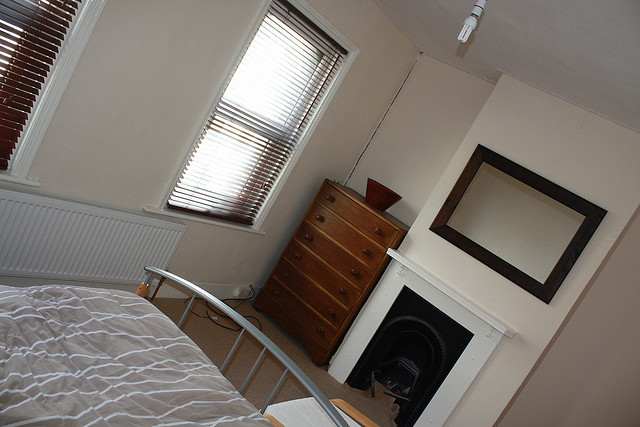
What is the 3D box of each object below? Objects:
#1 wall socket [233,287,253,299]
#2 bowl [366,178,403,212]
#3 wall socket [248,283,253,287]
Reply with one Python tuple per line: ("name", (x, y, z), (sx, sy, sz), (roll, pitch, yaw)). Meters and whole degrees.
("wall socket", (-0.904, 0.902, 4.707), (0.138, 0.129, 0.073), (17, 9, -46))
("bowl", (0.694, -0.223, 4.573), (0.437, 0.302, 0.375), (24, 25, 3))
("wall socket", (-0.815, 0.825, 4.756), (0.043, 0.040, 0.010), (-9, 13, -34))
